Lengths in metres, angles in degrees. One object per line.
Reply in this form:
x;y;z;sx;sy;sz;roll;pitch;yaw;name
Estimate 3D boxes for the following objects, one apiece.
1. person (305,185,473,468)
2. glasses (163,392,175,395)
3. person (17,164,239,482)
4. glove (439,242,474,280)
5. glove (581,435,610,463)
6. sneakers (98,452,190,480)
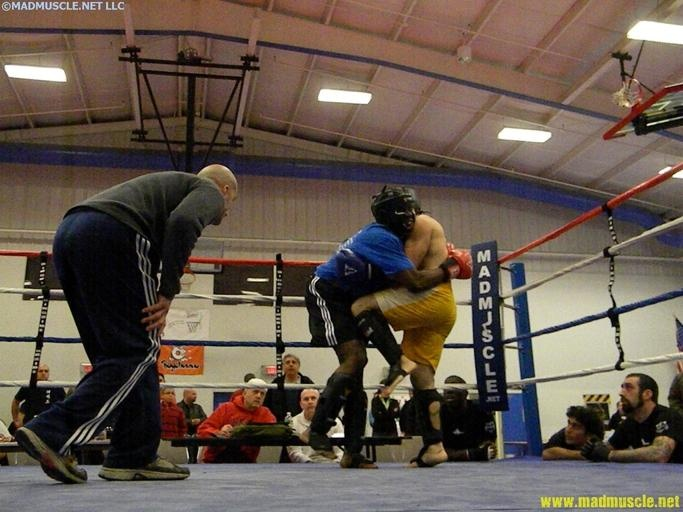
0.240;0.355;3.384;0.867;1.508;0.517;1;-15;-2;person
-1.893;1.504;7.007;0.075;0.022;0.070;3;-20;-15;glasses
-0.915;0.269;2.693;0.711;1.345;0.382;5;-16;-20;person
0.651;0.028;3.460;0.180;0.208;0.074;-22;-53;-11;glove
1.526;1.129;3.746;0.162;0.109;0.077;6;31;47;glove
-0.820;0.908;2.765;0.421;0.112;0.116;1;-23;-10;sneakers
